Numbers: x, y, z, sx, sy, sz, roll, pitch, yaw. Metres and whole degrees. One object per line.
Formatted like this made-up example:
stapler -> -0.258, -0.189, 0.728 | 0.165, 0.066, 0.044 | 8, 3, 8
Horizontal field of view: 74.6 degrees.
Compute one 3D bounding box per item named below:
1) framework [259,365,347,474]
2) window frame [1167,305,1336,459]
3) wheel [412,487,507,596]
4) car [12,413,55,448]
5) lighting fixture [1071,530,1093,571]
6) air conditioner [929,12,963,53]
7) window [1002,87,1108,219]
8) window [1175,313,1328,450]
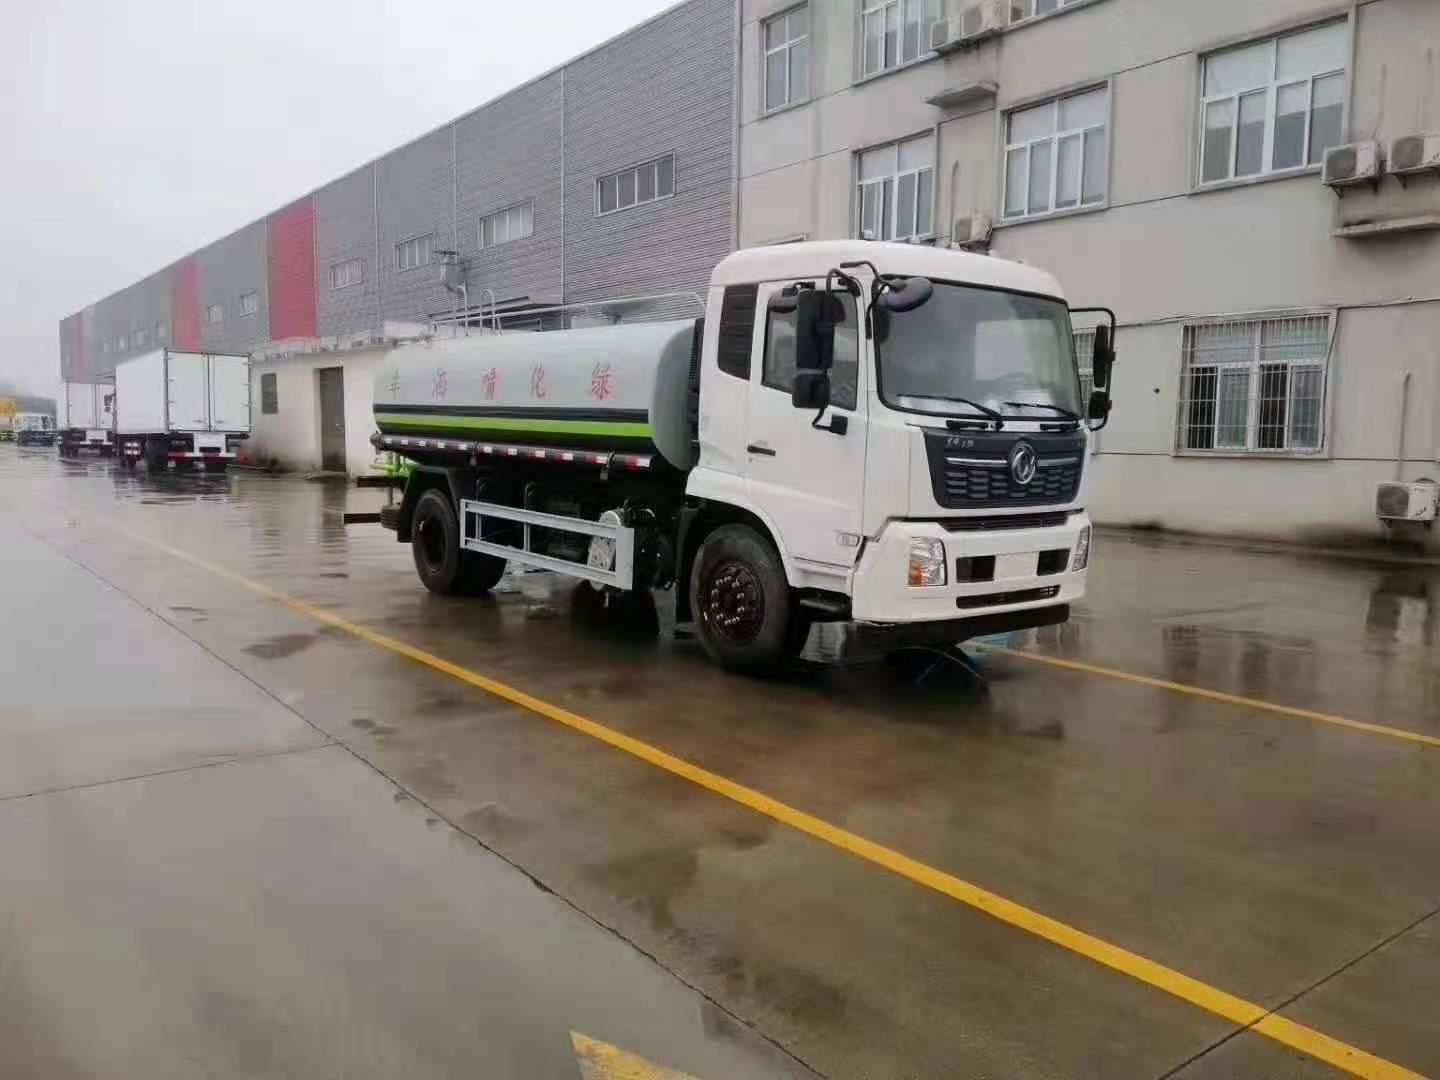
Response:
framework -> -15.490, -4.554, 35.336 | 3.428, 3.968, 1.830 | 9, 11, 43
window frame -> 8.459, -2.543, 14.939 | 0.164, 2.492, 1.988 | -4, 11, -40
wheel -> -3.138, -0.005, 10.682 | 1.039, 1.232, 0.399 | 16, 16, 42
car -> -42.316, -6.886, 58.443 | 1.376, 1.747, 1.919 | 8, 11, 42
lighting fixture -> 2.795, 0.044, 7.246 | 0.077, 0.368, 0.250 | 10, -4, -7
air conditioner -> 4.320, -9.725, 18.161 | 0.345, 0.606, 0.614 | -14, 47, -27
window -> 6.107, -7.061, 17.155 | 0.239, 2.618, 2.265 | -4, 7, -40
window -> 8.440, -2.486, 15.081 | 1.970, 2.487, 0.133 | 1, -21, 35
